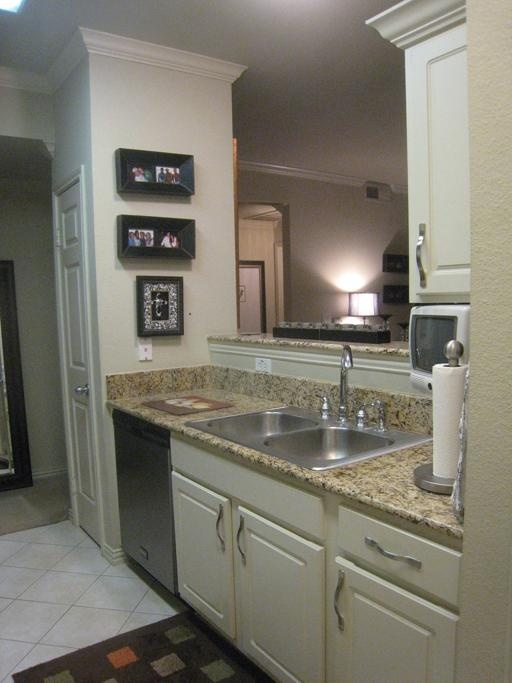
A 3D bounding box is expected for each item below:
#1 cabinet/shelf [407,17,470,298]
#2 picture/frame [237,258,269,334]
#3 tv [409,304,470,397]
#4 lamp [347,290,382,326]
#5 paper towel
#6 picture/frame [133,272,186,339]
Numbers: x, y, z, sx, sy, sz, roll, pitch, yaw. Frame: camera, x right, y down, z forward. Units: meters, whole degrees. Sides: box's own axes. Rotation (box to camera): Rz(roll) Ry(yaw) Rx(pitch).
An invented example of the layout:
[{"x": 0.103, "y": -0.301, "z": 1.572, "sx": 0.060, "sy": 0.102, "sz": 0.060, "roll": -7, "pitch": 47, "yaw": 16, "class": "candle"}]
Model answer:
[{"x": 0.487, "y": -0.470, "z": 1.505, "sx": 0.089, "sy": 0.725, "sz": 0.322, "roll": -4, "pitch": 3, "yaw": -12, "class": "cabinet/shelf"}, {"x": -0.057, "y": -0.639, "z": 7.736, "sx": 0.454, "sy": 1.017, "sz": 0.321, "roll": -4, "pitch": 3, "yaw": -14, "class": "picture/frame"}, {"x": 0.416, "y": 0.018, "z": 1.233, "sx": 0.130, "sy": 0.204, "sz": 0.236, "roll": 0, "pitch": 0, "yaw": 0, "class": "tv"}, {"x": 1.263, "y": -0.394, "z": 6.313, "sx": 0.194, "sy": 0.365, "sz": 0.484, "roll": 0, "pitch": 4, "yaw": 41, "class": "lamp"}, {"x": 0.397, "y": 0.173, "z": 1.139, "sx": 0.059, "sy": 0.253, "sz": 0.121, "roll": -3, "pitch": 3, "yaw": 8, "class": "paper towel"}, {"x": -0.496, "y": -0.184, "z": 2.711, "sx": 0.330, "sy": 0.394, "sz": 0.029, "roll": -2, "pitch": 4, "yaw": -43, "class": "picture/frame"}]
